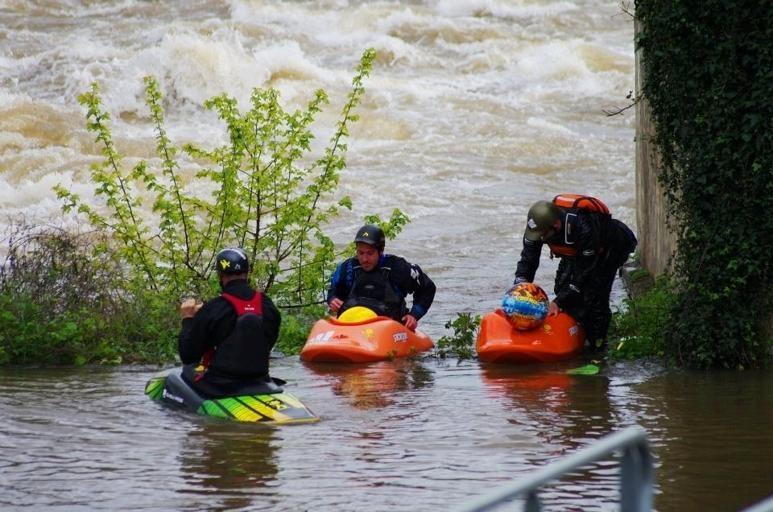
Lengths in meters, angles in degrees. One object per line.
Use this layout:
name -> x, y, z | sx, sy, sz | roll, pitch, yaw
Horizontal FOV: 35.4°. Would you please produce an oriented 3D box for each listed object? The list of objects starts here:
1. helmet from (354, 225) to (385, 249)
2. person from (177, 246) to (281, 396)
helmet -> -0.235, -0.301, 19.834 | 0.438, 0.377, 0.548 | 1, 7, 7
person -> -2.096, 0.940, 16.588 | 1.273, 1.980, 0.331 | -1, 8, -5
